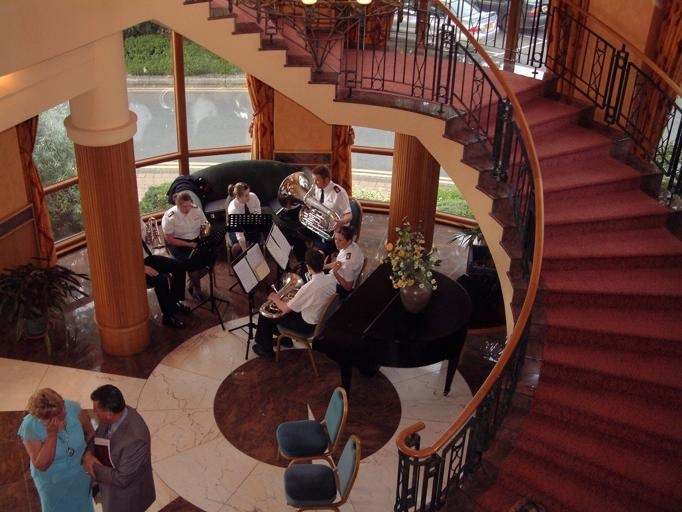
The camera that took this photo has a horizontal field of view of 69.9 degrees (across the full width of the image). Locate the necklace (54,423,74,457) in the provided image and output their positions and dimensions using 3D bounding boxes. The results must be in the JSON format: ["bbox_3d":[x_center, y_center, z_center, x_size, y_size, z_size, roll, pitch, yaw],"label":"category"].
[{"bbox_3d":[-2.373,1.608,4.210,0.080,0.224,0.137,-11,0,-14],"label":"necklace"}]

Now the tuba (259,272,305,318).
[{"bbox_3d":[-0.837,0.602,6.701,0.386,0.335,0.787,45,48,7],"label":"tuba"}]

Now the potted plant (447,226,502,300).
[{"bbox_3d":[2.132,0.168,7.526,0.655,1.273,0.706,-13,26,-34],"label":"potted plant"}]

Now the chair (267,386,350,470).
[{"bbox_3d":[-0.327,1.506,5.285,0.846,1.225,0.683,0,36,-14],"label":"chair"}]

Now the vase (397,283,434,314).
[{"bbox_3d":[0.905,0.468,5.896,0.309,0.417,0.335,-5,32,-8],"label":"vase"}]

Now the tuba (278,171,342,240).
[{"bbox_3d":[-0.475,-0.768,7.474,0.939,0.921,0.362,15,29,30],"label":"tuba"}]

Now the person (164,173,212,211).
[{"bbox_3d":[-2.829,-1.126,9.067,0.615,0.658,0.691,-3,22,-32],"label":"person"}]

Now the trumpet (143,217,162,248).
[{"bbox_3d":[-3.091,-0.376,8.001,0.271,0.529,0.260,-23,-20,23],"label":"trumpet"}]

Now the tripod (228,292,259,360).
[{"bbox_3d":[-1.344,0.885,7.078,0.338,1.069,0.429,-17,28,-42],"label":"tripod"}]

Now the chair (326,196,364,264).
[{"bbox_3d":[0.095,-0.467,8.241,0.585,1.104,0.550,21,27,30],"label":"chair"}]
